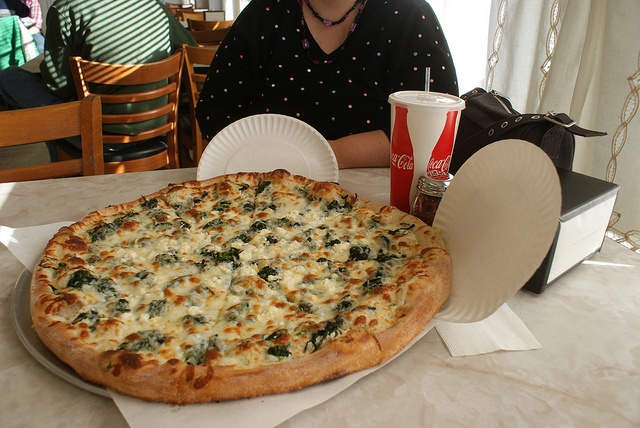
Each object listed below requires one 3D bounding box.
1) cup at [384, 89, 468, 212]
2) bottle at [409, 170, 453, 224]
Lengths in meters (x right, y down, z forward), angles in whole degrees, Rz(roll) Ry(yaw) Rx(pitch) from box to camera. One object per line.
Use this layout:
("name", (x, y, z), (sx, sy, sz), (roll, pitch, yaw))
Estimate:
("cup", (0.252, -0.225, 1.457), (0.282, 0.432, 0.305), (0, 25, 0))
("bottle", (0.311, -0.045, 1.270), (0.101, 0.193, 0.108), (-2, 45, 2))
